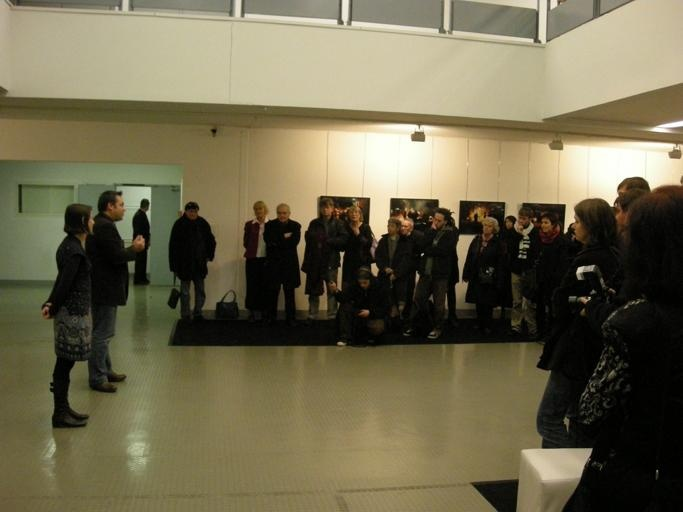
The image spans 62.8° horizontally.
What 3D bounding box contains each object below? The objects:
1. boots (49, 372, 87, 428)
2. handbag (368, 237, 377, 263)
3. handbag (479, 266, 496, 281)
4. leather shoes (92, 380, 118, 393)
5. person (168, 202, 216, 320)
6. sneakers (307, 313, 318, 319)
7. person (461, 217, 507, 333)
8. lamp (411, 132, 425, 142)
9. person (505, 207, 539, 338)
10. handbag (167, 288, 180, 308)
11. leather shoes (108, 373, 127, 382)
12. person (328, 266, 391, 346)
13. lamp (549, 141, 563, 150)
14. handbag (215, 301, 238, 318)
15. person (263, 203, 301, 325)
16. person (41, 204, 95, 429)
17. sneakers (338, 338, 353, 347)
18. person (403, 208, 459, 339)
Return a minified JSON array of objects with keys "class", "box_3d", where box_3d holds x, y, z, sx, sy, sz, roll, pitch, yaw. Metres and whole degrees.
[{"class":"boots","box_3d":[-2.564,1.368,5.288,0.329,0.472,0.206,1,2,-28]},{"class":"handbag","box_3d":[0.568,-0.106,10.039,0.189,0.341,0.327,0,2,0]},{"class":"handbag","box_3d":[2.441,0.294,9.357,0.214,0.237,0.227,2,-5,-1]},{"class":"leather shoes","box_3d":[-2.645,1.437,6.176,0.288,0.139,0.113,-1,4,-1]},{"class":"person","box_3d":[-2.611,0.089,9.803,0.758,2.056,0.325,0,4,-21]},{"class":"sneakers","box_3d":[-0.504,1.075,10.003,0.118,0.100,0.102,1,-1,-14]},{"class":"person","box_3d":[2.462,0.321,9.612,0.546,1.964,0.736,-1,5,-36]},{"class":"lamp","box_3d":[1.257,-1.976,9.187,0.194,0.159,0.321,3,5,12]},{"class":"person","box_3d":[3.034,0.271,9.309,0.396,2.130,1.104,2,4,9]},{"class":"handbag","box_3d":[-3.080,0.783,10.230,0.094,0.370,0.368,23,-6,-17]},{"class":"leather shoes","box_3d":[-2.605,1.408,6.465,0.140,0.096,0.063,-4,-19,-11]},{"class":"person","box_3d":[0.267,0.737,8.595,0.954,1.179,0.719,-3,12,-17]},{"class":"lamp","box_3d":[3.834,-1.968,9.983,0.236,0.186,0.264,1,2,-2]},{"class":"handbag","box_3d":[-2.067,0.969,10.071,0.259,0.285,0.104,1,-1,-3]},{"class":"person","box_3d":[-1.039,0.137,9.771,0.636,2.058,0.250,1,4,-11]},{"class":"person","box_3d":[-2.568,0.555,5.243,0.411,2.074,0.445,0,4,-26]},{"class":"sneakers","box_3d":[0.059,1.310,8.490,0.087,0.121,0.270,-6,-9,30]},{"class":"person","box_3d":[1.513,0.270,9.272,0.744,2.109,0.514,2,4,12]}]
